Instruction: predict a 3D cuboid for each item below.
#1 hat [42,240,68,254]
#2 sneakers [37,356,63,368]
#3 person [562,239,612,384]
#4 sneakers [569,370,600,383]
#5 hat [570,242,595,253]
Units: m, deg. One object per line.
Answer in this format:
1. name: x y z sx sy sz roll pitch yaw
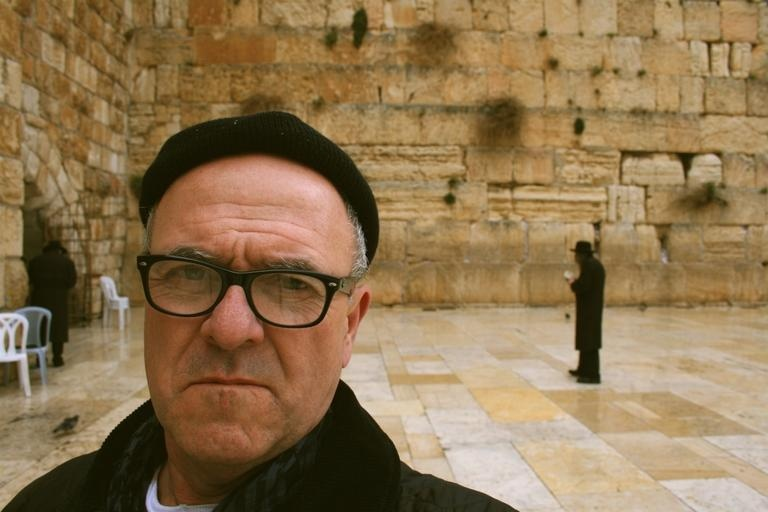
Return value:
1. hat: -6.310 -0.156 19.381 0.349 0.096 0.324 14 8 11
2. sneakers: -6.180 1.955 18.626 0.361 0.140 0.267 -1 -10 -5
3. person: 3.699 1.025 18.494 0.654 2.533 0.594 1 3 11
4. sneakers: 3.656 2.189 18.330 0.511 0.207 0.190 7 1 21
5. hat: 3.752 -0.136 18.868 0.302 0.133 0.358 4 -6 16
